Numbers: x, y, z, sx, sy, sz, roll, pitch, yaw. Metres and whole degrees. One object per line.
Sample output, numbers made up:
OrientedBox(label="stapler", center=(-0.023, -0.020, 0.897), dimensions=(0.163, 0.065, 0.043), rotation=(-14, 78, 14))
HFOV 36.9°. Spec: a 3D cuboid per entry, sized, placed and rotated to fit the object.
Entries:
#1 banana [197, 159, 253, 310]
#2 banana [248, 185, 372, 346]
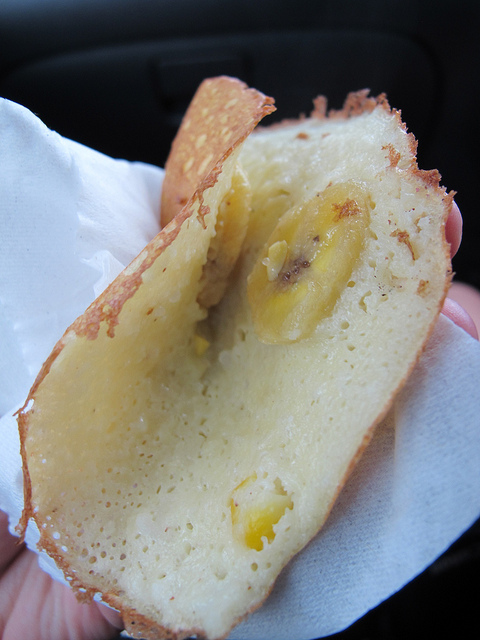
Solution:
OrientedBox(label="banana", center=(-0.015, -0.090, 0.768), dimensions=(0.037, 0.093, 0.139), rotation=(21, 96, 13))
OrientedBox(label="banana", center=(0.070, -0.045, 0.735), dimensions=(0.163, 0.039, 0.120), rotation=(-53, 42, 17))
